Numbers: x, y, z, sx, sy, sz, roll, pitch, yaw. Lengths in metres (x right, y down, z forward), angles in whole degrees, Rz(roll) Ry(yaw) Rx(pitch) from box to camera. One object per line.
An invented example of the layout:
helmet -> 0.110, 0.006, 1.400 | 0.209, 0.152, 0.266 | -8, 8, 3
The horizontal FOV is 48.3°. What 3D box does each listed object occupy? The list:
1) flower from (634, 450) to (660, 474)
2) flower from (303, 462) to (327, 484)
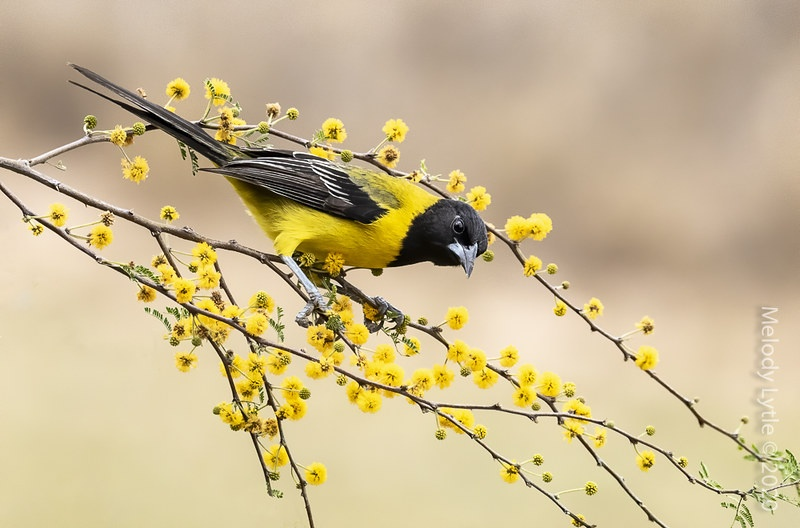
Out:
flower -> 1.290, 1.030, 4.670 | 0.073, 0.125, 0.072 | -13, -52, 23
flower -> -0.446, 1.100, 4.639 | 0.091, 0.107, 0.077 | 22, -47, -8
